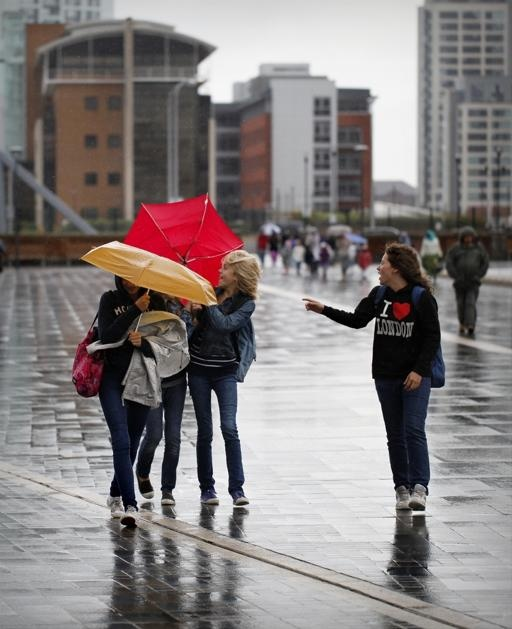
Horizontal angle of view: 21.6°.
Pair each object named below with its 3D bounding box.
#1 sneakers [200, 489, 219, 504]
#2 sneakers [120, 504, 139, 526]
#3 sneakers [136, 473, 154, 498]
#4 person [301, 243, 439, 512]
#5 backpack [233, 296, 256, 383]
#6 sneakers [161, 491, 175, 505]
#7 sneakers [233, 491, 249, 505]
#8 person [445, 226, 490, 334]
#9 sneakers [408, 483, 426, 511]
[{"bbox_3d":[-0.285,1.118,8.215,0.104,0.075,0.154,0,4,-3],"label":"sneakers"},{"bbox_3d":[-0.711,1.134,7.525,0.096,0.111,0.160,0,4,-6],"label":"sneakers"},{"bbox_3d":[-0.701,1.085,8.456,0.063,0.166,0.045,-12,-21,-26],"label":"sneakers"},{"bbox_3d":[0.823,0.363,8.170,0.651,1.575,0.413,3,4,38],"label":"person"},{"bbox_3d":[-0.083,0.200,8.355,0.145,0.462,0.136,20,-33,-20],"label":"backpack"},{"bbox_3d":[-0.541,1.120,8.178,0.081,0.079,0.209,2,1,-2],"label":"sneakers"},{"bbox_3d":[-0.097,1.114,8.113,0.096,0.081,0.121,0,4,-1],"label":"sneakers"},{"bbox_3d":[2.991,-0.466,19.357,0.585,1.560,0.845,1,3,7],"label":"person"},{"bbox_3d":[0.940,1.081,7.937,0.130,0.163,0.371,0,-6,7],"label":"sneakers"}]
